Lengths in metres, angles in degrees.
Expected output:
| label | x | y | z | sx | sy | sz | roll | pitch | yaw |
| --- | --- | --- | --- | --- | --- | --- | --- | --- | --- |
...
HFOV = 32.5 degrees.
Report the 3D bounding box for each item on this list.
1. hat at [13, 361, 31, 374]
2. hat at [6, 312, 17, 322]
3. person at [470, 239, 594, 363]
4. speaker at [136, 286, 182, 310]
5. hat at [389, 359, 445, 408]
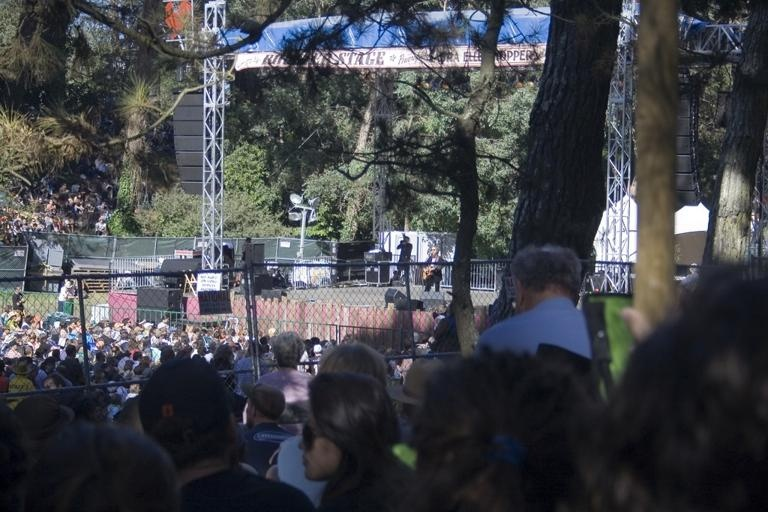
| label | x | y | z | sx | sy | sz | roll | pitch | yaw |
| --- | --- | --- | --- | --- | --- | --- | --- | --- | --- |
| hat | -5.017 | 1.554 | 18.383 | 0.175 | 0.069 | 0.183 | 2 | 7 | 14 |
| hat | -6.310 | 1.027 | 22.359 | 0.086 | 0.105 | 0.289 | 9 | 34 | 9 |
| person | 1.619 | 0.583 | 14.825 | 1.443 | 1.189 | 1.145 | 3 | 7 | -6 |
| speaker | -4.395 | 0.835 | 26.155 | 0.885 | 0.451 | 0.501 | 0 | -28 | 23 |
| hat | 0.331 | 1.365 | 14.721 | 0.537 | 0.236 | 0.595 | 7 | 5 | 3 |
